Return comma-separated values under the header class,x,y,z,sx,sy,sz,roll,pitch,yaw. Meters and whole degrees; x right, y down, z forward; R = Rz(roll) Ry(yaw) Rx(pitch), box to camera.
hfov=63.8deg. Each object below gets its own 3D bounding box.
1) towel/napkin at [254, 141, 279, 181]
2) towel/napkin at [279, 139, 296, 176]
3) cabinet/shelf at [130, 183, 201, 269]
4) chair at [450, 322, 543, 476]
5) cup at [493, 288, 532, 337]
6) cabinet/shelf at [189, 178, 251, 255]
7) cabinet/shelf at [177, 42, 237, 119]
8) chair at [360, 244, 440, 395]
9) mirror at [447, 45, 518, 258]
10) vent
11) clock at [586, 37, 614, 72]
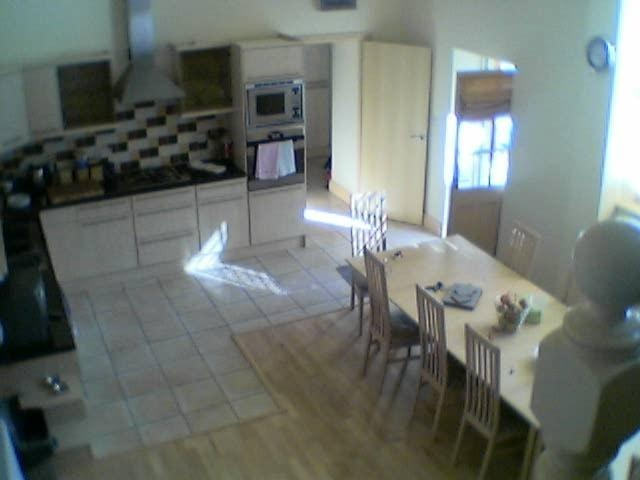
class,x,y,z,sx,sy,sz,roll,pitch,yaw
towel/napkin,-0.633,-0.944,5.989,0.395,0.577,0.061,-6,33,-22
towel/napkin,-0.389,-0.994,6.070,0.288,0.525,0.055,-16,27,-33
cabinet/shelf,-1.789,-0.265,6.170,0.782,1.200,0.776,-11,25,-27
chair,1.131,1.068,3.529,0.380,1.177,0.439,-11,21,-21
cup,1.451,0.550,3.862,0.223,0.335,0.119,4,-12,29
cabinet/shelf,-1.141,-0.399,6.206,0.709,1.077,0.683,-11,26,-22
cabinet/shelf,-1.303,-1.872,5.900,0.624,0.704,0.171,-8,18,-32
chair,0.684,0.692,4.320,0.618,1.140,0.598,-11,36,-17
mirror,1.932,-1.088,6.242,0.799,2.336,0.541,16,27,41
vent,-1.834,-1.689,5.381,0.525,0.248,0.539,-9,32,-18
clock,2.390,-1.590,4.394,0.077,0.290,0.290,-5,20,-6
